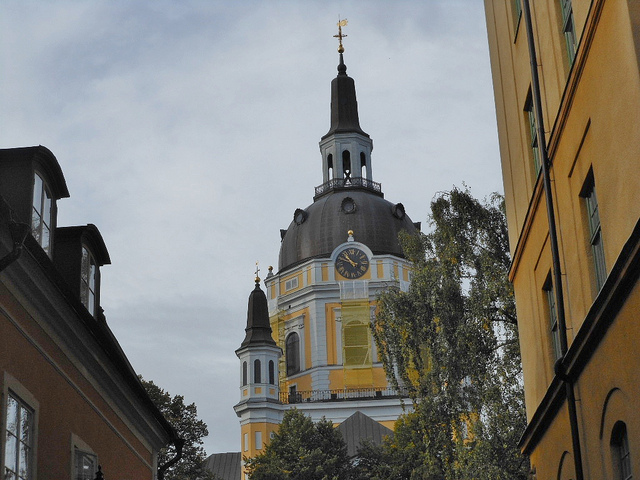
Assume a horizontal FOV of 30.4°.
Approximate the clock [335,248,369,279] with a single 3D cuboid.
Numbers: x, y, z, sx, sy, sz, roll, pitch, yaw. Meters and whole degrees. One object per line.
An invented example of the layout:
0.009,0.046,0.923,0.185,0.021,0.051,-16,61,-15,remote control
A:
1.901,1.623,71.587,1.436,1.674,0.132,-14,-28,-17,clock
